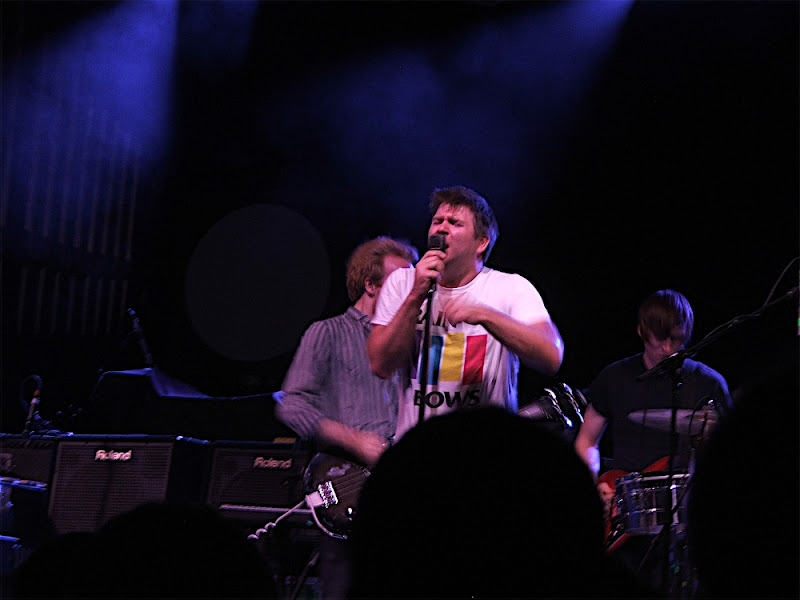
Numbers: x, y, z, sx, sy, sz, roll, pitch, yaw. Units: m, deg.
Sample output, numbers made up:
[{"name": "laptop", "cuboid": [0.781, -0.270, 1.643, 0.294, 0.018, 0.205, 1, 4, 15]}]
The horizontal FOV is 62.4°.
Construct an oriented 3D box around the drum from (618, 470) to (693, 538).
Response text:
[{"name": "drum", "cuboid": [1.289, 1.013, 3.323, 0.354, 0.240, 0.369, -3, -21, -1]}]
